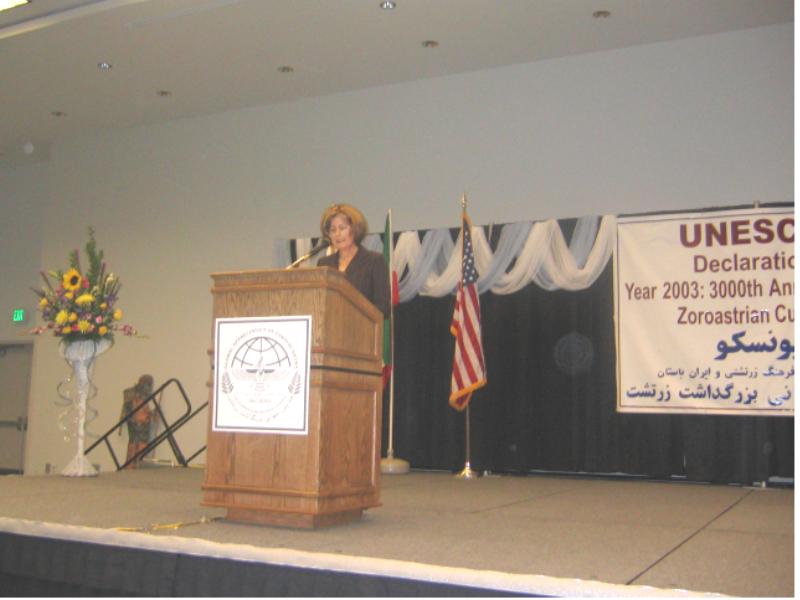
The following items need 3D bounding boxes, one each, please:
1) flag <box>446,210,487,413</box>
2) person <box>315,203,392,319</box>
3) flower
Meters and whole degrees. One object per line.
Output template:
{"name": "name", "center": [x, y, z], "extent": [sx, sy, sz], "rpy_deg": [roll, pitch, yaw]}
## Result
{"name": "flag", "center": [0.843, 0.137, 11.580], "extent": [0.415, 2.492, 0.955], "rpy_deg": [1, 2, 5]}
{"name": "person", "center": [-0.453, -0.065, 8.220], "extent": [0.628, 1.596, 0.446], "rpy_deg": [-5, -17, 6]}
{"name": "flower", "center": [-3.437, -0.065, 10.473], "extent": [0.800, 1.102, 0.818], "rpy_deg": [-5, -11, 19]}
